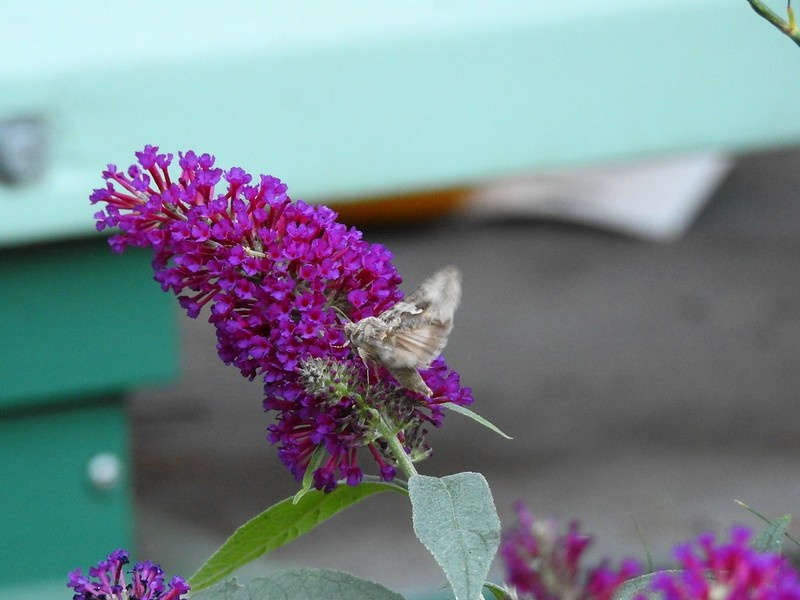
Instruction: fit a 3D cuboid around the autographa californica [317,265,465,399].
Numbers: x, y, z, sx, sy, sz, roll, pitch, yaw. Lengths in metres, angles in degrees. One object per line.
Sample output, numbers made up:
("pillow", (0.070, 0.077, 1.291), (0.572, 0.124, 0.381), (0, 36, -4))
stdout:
("autographa californica", (-0.063, 0.060, 2.470), (0.393, 0.357, 0.319), (4, 87, 24))
